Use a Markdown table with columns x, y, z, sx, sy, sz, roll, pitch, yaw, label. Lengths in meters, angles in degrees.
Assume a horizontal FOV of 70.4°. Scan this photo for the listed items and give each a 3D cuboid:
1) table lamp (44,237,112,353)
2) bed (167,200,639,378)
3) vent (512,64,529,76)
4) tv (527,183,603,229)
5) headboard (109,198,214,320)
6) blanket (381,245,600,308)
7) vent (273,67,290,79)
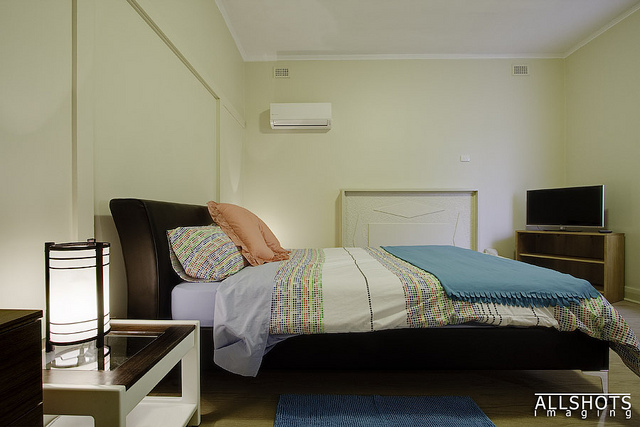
| x | y | z | sx | sy | sz | roll | pitch | yaw | label |
| --- | --- | --- | --- | --- | --- | --- | --- | --- | --- |
| -1.566 | 0.504 | 2.916 | 0.416 | 0.648 | 0.388 | -1 | -1 | -12 | table lamp |
| 0.274 | 0.566 | 3.473 | 2.058 | 0.692 | 1.982 | -1 | 3 | -5 | bed |
| 2.638 | -1.893 | 5.982 | 0.238 | 0.159 | 0.130 | 1 | -2 | 3 | vent |
| 2.983 | -0.078 | 5.512 | 0.151 | 0.393 | 0.564 | 6 | -5 | -35 | tv |
| -1.228 | 0.296 | 3.492 | 0.508 | 0.717 | 1.122 | 1 | 1 | 2 | headboard |
| 1.338 | 0.512 | 4.437 | 1.331 | 0.214 | 2.756 | 1 | 4 | -7 | blanket |
| -0.502 | -1.853 | 6.021 | 0.162 | 0.160 | 0.049 | -3 | 3 | 0 | vent |
